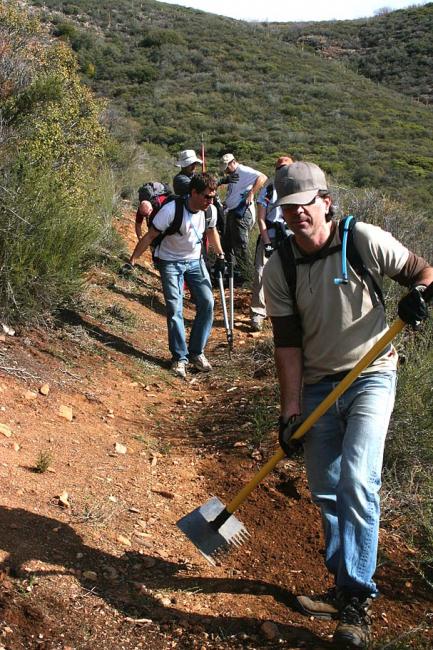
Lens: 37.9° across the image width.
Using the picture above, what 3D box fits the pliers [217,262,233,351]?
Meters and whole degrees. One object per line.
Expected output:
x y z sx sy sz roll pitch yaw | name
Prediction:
0.168 -0.241 6.618 0.194 0.931 0.185 1 0 -35 | pliers

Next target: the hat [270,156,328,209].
0.377 -0.649 2.898 0.213 0.233 0.230 -2 15 5 | hat

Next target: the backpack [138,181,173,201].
-0.763 -1.686 7.988 0.416 0.179 0.314 -2 5 -1 | backpack

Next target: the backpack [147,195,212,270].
-0.353 -0.886 5.888 0.484 0.583 0.307 5 11 -7 | backpack
